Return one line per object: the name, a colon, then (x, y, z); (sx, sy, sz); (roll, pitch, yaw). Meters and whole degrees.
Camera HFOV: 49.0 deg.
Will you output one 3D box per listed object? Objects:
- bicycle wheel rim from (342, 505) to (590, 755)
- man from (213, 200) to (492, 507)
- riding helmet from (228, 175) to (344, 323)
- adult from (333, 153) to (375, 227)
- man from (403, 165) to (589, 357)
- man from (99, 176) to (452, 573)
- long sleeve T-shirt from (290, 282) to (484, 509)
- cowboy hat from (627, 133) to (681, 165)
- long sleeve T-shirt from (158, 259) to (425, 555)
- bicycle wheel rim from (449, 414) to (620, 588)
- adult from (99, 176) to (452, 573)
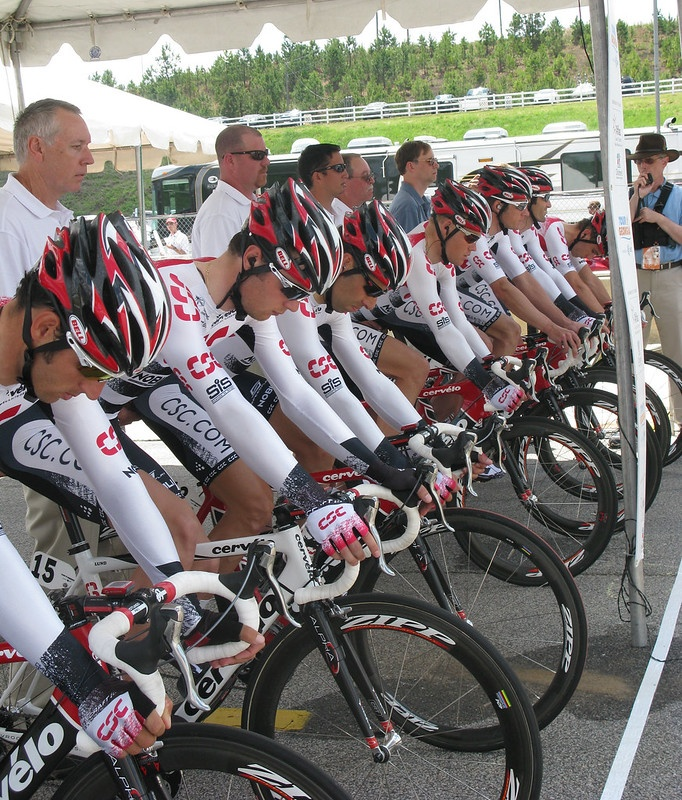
bicycle wheel rim: (0.550, 0.736, 2.782); (0.805, 0.808, 0.193); (49, 27, 12)
man: (0.128, -0.215, 3.108); (0.638, 1.082, 1.736); (-4, 6, -14)
riding helmet: (-0.152, -0.441, 2.529); (0.305, 0.327, 0.360); (5, 19, -27)
adult: (0.072, -1.833, 6.522); (0.420, 0.597, 0.367); (-1, 11, 3)
man: (1.347, -0.972, 5.745); (1.427, 1.650, 0.541); (7, 30, -8)
man: (-0.168, -0.121, 2.499); (0.598, 1.243, 1.463); (-14, 23, -36)
long sleeve T-shirt: (0.061, -0.112, 3.001); (0.392, 0.641, 1.176); (-43, 43, -9)
cowboy hat: (2.704, -2.130, 6.504); (0.382, 0.182, 0.447); (4, 13, 35)
long sleeve T-shirt: (-0.147, -0.069, 2.410); (1.091, 0.545, 0.467); (37, 35, 17)
bicycle wheel rim: (0.906, 0.448, 3.466); (0.840, 0.132, 0.860); (34, 46, 2)
adult: (-0.192, -0.112, 2.520); (0.632, 1.257, 1.445); (-16, 25, -41)
